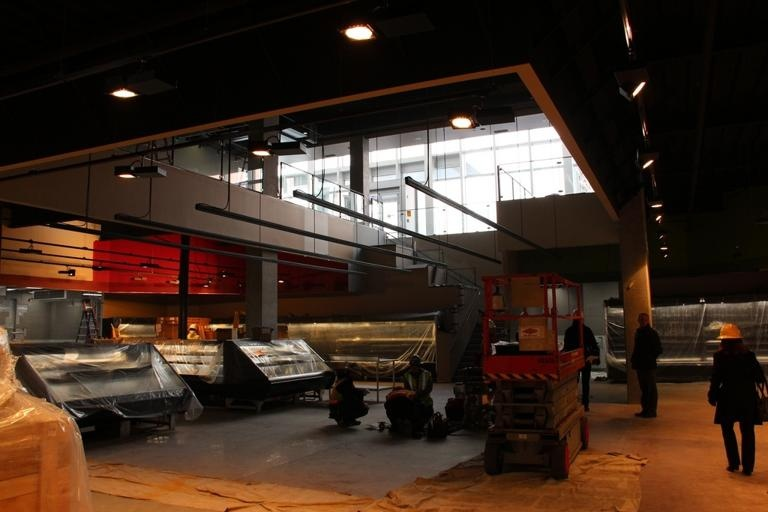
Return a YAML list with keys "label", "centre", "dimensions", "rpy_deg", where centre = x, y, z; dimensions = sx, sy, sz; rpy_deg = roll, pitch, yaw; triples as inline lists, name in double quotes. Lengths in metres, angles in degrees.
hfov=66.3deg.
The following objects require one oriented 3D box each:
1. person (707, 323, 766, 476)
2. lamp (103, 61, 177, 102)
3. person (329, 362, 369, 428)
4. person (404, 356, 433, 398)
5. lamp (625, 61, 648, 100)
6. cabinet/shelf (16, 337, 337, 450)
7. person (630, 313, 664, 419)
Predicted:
- label: "person"
  centre: [5.378, 2.155, 8.940]
  dimensions: [0.737, 2.201, 0.608]
  rpy_deg: [-2, -2, 29]
- label: "lamp"
  centre: [-3.689, -2.571, 8.860]
  dimensions: [0.958, 0.318, 0.679]
  rpy_deg: [-4, 1, 3]
- label: "person"
  centre: [-0.793, 2.985, 12.689]
  dimensions: [0.760, 1.095, 0.681]
  rpy_deg: [-3, -1, 30]
- label: "person"
  centre: [0.706, 2.434, 12.415]
  dimensions: [0.544, 0.835, 1.671]
  rpy_deg: [-1, -2, 3]
- label: "lamp"
  centre: [3.936, -2.782, 9.301]
  dimensions: [0.427, 0.568, 0.322]
  rpy_deg: [-2, -2, 26]
- label: "cabinet/shelf"
  centre: [-4.629, 2.691, 13.002]
  dimensions: [2.529, 2.001, 6.564]
  rpy_deg: [-2, -3, 34]
- label: "person"
  centre: [5.678, 2.350, 12.786]
  dimensions: [0.508, 2.169, 0.647]
  rpy_deg: [-3, -3, 43]
